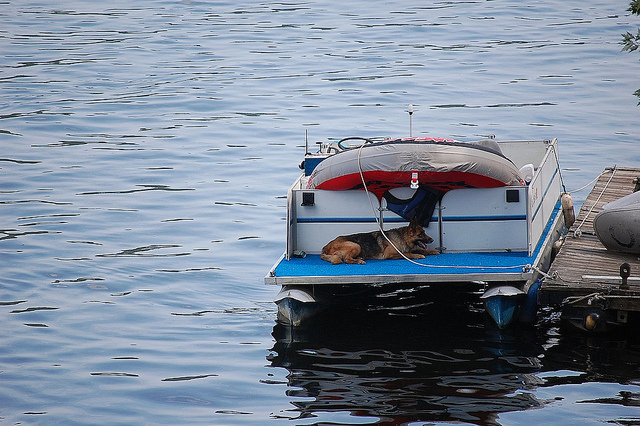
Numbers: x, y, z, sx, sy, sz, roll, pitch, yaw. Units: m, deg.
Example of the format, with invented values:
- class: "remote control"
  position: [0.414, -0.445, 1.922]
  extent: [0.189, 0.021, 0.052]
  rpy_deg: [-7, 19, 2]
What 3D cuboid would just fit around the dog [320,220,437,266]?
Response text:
- class: "dog"
  position: [1.302, 0.730, 26.685]
  extent: [2.600, 0.569, 1.014]
  rpy_deg: [-2, -1, 2]
